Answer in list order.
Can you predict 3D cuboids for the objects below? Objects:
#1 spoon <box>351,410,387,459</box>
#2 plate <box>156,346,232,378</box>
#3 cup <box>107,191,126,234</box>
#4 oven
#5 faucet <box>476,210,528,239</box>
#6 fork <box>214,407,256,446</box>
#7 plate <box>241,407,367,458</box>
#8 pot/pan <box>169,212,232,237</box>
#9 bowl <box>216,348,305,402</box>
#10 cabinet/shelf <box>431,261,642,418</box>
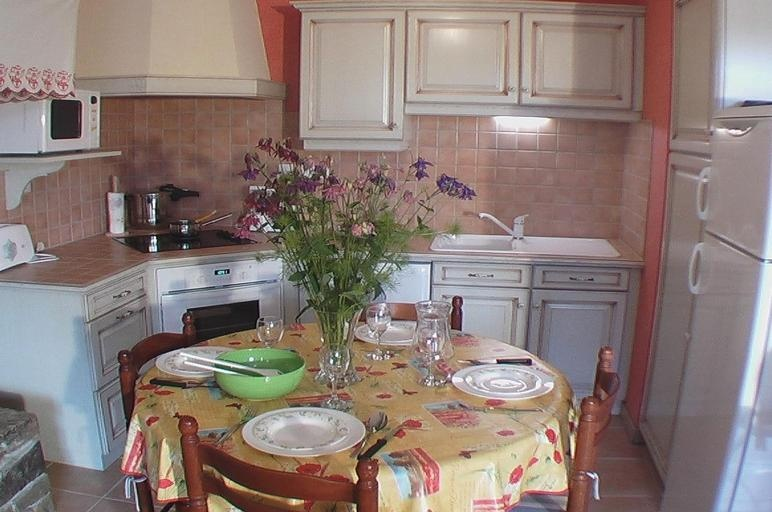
[{"bbox_3d":[-0.054,0.595,1.865,0.072,0.043,0.330,9,7,12],"label":"spoon"},{"bbox_3d":[-0.844,0.447,2.321,0.165,0.017,0.161,5,13,18],"label":"plate"},{"bbox_3d":[-1.950,-0.319,4.057,0.131,0.301,0.153,11,15,43],"label":"cup"},{"bbox_3d":[-1.030,0.338,3.822,0.802,0.530,0.444,-7,1,2],"label":"oven"},{"bbox_3d":[0.848,-0.222,4.070,0.374,0.194,0.337,3,11,11],"label":"faucet"},{"bbox_3d":[-0.525,0.599,1.973,0.035,0.026,0.240,-9,19,21],"label":"fork"},{"bbox_3d":[-0.289,0.599,1.905,0.201,0.020,0.197,-5,15,-27],"label":"plate"},{"bbox_3d":[-1.348,-0.226,3.917,0.471,0.164,0.183,-4,11,-6],"label":"pot/pan"},{"bbox_3d":[-0.512,0.469,2.191,0.340,0.135,0.331,4,8,-1],"label":"bowl"},{"bbox_3d":[0.851,0.400,3.058,1.080,0.893,0.408,1,4,6],"label":"cabinet/shelf"}]
